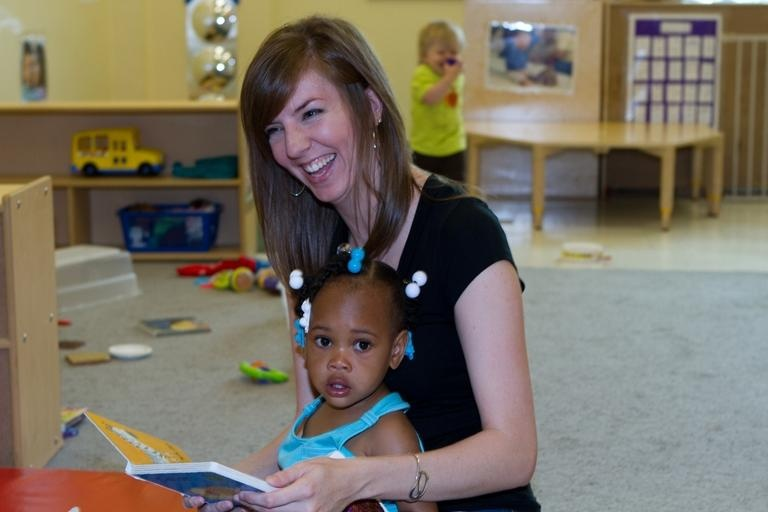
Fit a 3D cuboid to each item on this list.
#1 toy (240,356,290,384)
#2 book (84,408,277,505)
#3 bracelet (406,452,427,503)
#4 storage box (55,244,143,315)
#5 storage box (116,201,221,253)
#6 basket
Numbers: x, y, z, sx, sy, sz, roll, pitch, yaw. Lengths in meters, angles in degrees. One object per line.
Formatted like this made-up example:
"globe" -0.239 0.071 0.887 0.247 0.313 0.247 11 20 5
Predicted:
"toy" -0.411 0.398 2.416 0.104 0.033 0.098 7 3 6
"book" -0.395 0.390 1.311 0.179 0.135 0.452 -9 13 -37
"bracelet" 0.065 0.384 1.230 0.028 0.067 0.050 -2 12 5
"storage box" -0.783 0.055 1.951 0.204 0.097 0.200 -5 9 -21
"storage box" -0.588 -0.081 1.948 0.208 0.086 0.140 -1 7 -1
"basket" -0.596 -0.086 1.959 0.204 0.085 0.137 -1 7 0
